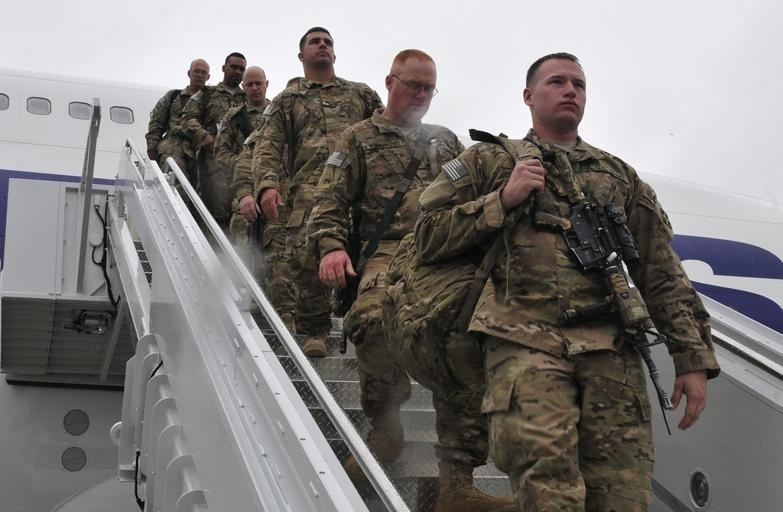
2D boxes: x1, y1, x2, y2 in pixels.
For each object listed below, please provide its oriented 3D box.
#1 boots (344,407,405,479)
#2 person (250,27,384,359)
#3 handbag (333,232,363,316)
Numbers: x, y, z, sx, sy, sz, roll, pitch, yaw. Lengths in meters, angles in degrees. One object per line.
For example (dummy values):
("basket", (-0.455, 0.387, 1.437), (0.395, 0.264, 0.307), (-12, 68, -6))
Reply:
("boots", (-0.134, 1.114, 3.904), (0.404, 0.424, 0.182), (-8, 6, -12))
("person", (-0.502, -0.580, 5.243), (1.155, 2.892, 0.843), (-1, -16, -9))
("handbag", (-0.270, 0.127, 4.182), (0.162, 0.451, 0.324), (6, 2, 16))
